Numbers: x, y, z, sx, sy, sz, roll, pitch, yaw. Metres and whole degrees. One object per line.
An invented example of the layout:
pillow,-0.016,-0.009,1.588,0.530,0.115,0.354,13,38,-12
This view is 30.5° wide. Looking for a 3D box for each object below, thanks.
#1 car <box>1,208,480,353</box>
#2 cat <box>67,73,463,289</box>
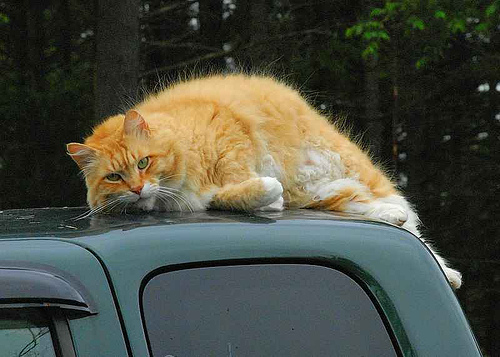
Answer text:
car,-0.161,0.875,7.218,2.985,1.297,1.363,6,-12,-13
cat,-0.034,-0.122,8.295,2.956,1.072,1.927,7,-33,-9
